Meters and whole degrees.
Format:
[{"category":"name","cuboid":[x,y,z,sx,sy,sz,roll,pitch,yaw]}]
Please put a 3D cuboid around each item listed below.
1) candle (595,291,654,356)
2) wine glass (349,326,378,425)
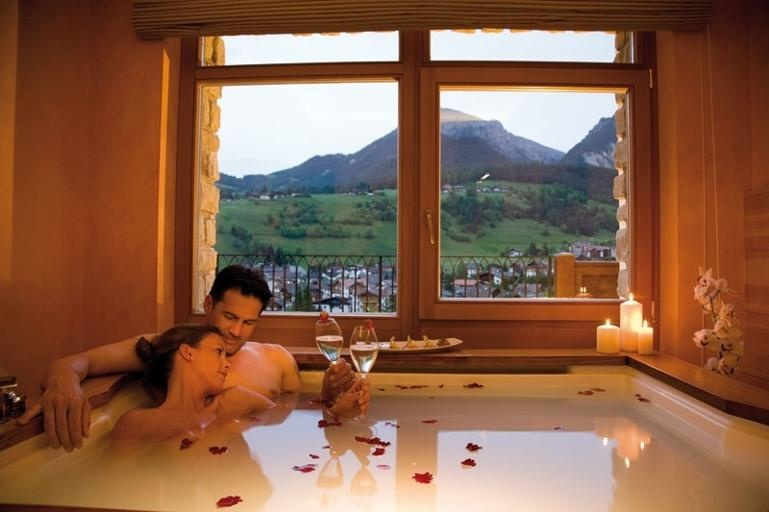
[{"category":"candle","cuboid":[1.407,0.382,3.553,0.301,0.321,0.336,2,4,19]},{"category":"wine glass","cuboid":[-0.094,0.522,2.800,0.115,0.497,0.257,0,4,-1]}]
